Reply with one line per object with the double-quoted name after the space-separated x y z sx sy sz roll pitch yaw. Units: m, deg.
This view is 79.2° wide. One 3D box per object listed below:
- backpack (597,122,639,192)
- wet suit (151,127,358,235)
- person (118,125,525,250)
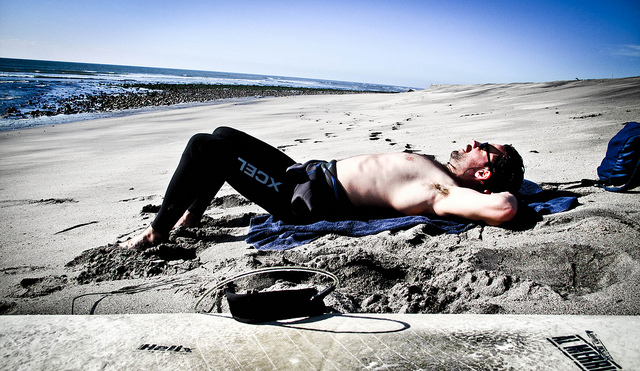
2.898 -0.284 3.746 0.330 0.577 0.596 9 22 33 "backpack"
-0.610 -0.029 3.479 1.665 0.492 1.035 -4 21 13 "wet suit"
0.087 -0.019 3.725 3.332 0.777 1.413 -1 0 5 "person"
